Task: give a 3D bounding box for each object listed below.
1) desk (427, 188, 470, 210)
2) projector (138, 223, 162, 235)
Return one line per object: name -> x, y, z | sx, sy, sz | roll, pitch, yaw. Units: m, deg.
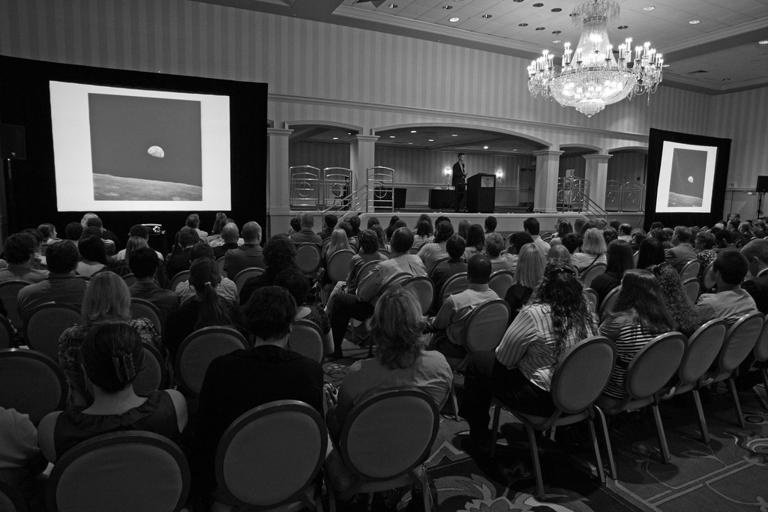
desk -> 2.038, -1.960, 19.038 | 0.927, 0.629, 0.979 | 0, 4, -7
projector -> -4.040, -0.462, 9.445 | 0.296, 0.127, 0.294 | -1, 11, -18
